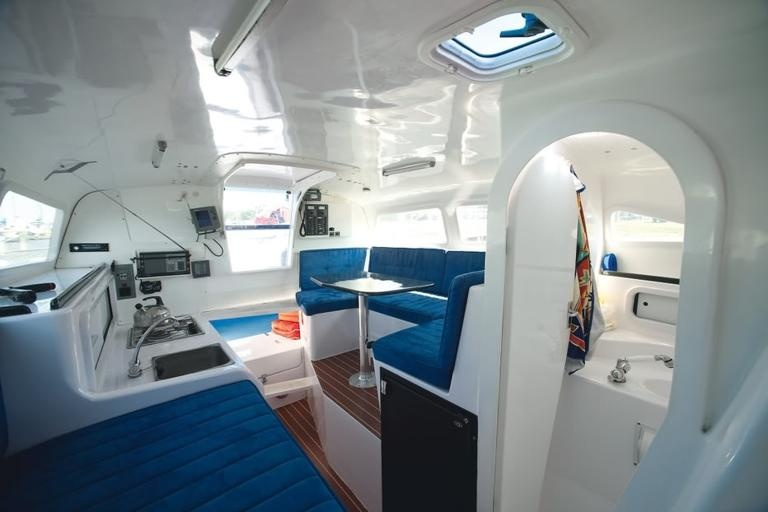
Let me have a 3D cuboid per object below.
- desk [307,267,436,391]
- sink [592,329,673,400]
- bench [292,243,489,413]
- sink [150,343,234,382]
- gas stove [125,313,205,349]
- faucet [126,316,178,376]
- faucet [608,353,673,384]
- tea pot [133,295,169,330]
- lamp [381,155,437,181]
[{"bbox_3d":[-0.127,0.745,4.583,0.954,0.949,1.237,-2,4,-24],"label":"desk"},{"bbox_3d":[1.916,0.801,3.285,0.560,0.195,0.504,-8,14,-15],"label":"sink"},{"bbox_3d":[0.171,0.556,4.725,1.456,1.150,2.586,0,2,-35],"label":"bench"},{"bbox_3d":[-1.470,0.751,3.224,0.404,0.212,0.276,-7,13,-35],"label":"sink"},{"bbox_3d":[-1.881,0.680,3.706,0.591,0.125,0.563,-11,18,-33],"label":"gas stove"},{"bbox_3d":[-1.758,0.700,3.280,0.173,0.551,0.385,36,28,33],"label":"faucet"},{"bbox_3d":[1.838,0.820,3.067,0.390,0.196,0.205,-15,12,-7],"label":"faucet"},{"bbox_3d":[-2.109,0.517,3.862,0.256,0.298,0.355,4,-2,18],"label":"tea pot"},{"bbox_3d":[0.276,-0.964,4.678,0.448,0.096,0.934,-2,4,-23],"label":"lamp"}]
